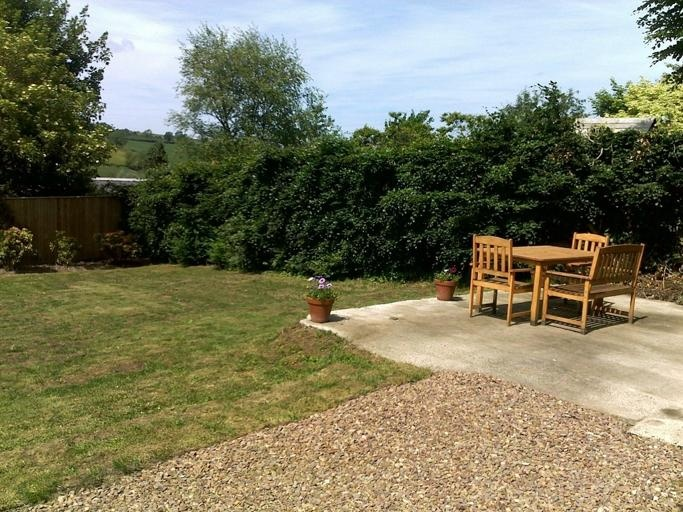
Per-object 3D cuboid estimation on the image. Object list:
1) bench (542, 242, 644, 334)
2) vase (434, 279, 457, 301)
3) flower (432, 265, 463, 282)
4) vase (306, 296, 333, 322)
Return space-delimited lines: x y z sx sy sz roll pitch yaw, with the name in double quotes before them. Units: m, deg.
"bench" 4.128 0.541 8.635 1.755 0.991 0.685 -3 8 -35
"vase" 2.071 0.656 10.299 0.458 0.285 0.455 1 0 37
"flower" 1.997 0.365 10.371 0.573 0.272 0.575 2 6 26
"vase" -0.366 0.838 8.443 0.481 0.291 0.442 5 -3 -41
